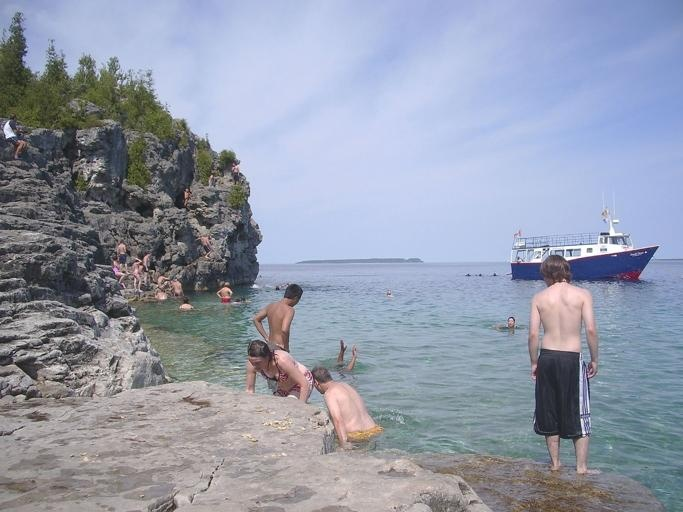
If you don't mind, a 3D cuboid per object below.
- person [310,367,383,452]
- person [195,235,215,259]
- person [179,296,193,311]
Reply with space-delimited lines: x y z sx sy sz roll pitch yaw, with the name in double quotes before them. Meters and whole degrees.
"person" 0.010 3.112 11.835 1.076 1.403 1.625 3 4 32
"person" -10.874 -0.748 45.632 1.240 1.752 0.597 0 11 3
"person" -9.104 2.814 33.466 0.548 0.810 0.425 3 1 -12
